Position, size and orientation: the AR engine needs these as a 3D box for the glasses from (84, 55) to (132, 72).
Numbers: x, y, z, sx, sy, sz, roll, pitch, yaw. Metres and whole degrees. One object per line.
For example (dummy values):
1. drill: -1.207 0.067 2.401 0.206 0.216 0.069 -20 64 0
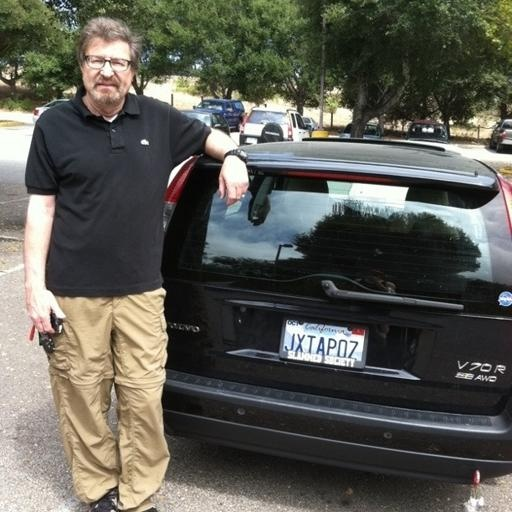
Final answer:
1. glasses: -0.600 -0.772 2.000 0.183 0.065 0.083 -1 12 -13
